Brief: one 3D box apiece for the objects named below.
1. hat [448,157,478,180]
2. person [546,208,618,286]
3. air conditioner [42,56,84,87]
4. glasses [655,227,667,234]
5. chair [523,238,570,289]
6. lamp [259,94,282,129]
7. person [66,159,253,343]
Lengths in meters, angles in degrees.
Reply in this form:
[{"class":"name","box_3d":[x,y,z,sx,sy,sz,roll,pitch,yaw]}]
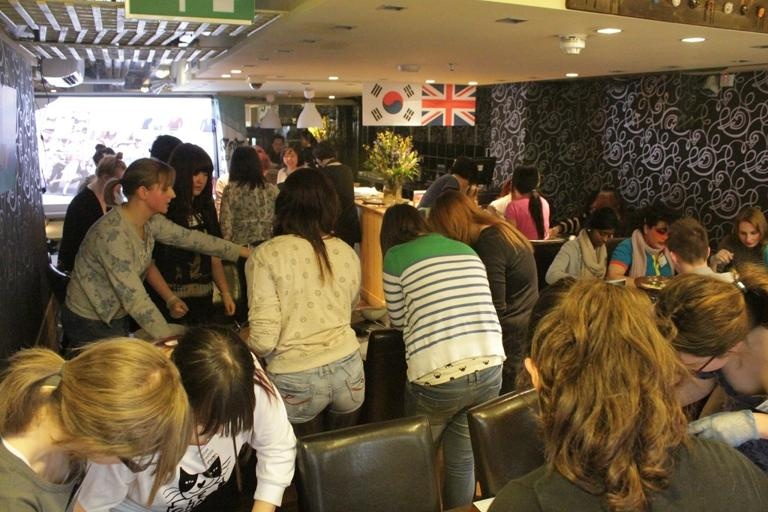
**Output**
[{"class":"hat","box_3d":[0.845,-0.915,5.991,0.204,0.258,0.259,9,11,25]},{"class":"person","box_3d":[1.590,-0.090,4.528,0.744,0.586,0.355,-8,13,-43]},{"class":"air conditioner","box_3d":[-3.869,-2.196,6.934,0.421,0.220,2.219,-4,11,-28]},{"class":"glasses","box_3d":[2.231,-0.209,4.604,0.060,0.035,0.080,0,21,-9]},{"class":"chair","box_3d":[1.357,0.026,5.089,0.413,0.536,0.455,0,12,-2]},{"class":"lamp","box_3d":[-2.313,-2.924,11.689,0.332,0.629,1.573,-1,10,-11]},{"class":"person","box_3d":[-1.344,-0.010,3.533,0.807,1.317,0.868,5,28,-18]}]
